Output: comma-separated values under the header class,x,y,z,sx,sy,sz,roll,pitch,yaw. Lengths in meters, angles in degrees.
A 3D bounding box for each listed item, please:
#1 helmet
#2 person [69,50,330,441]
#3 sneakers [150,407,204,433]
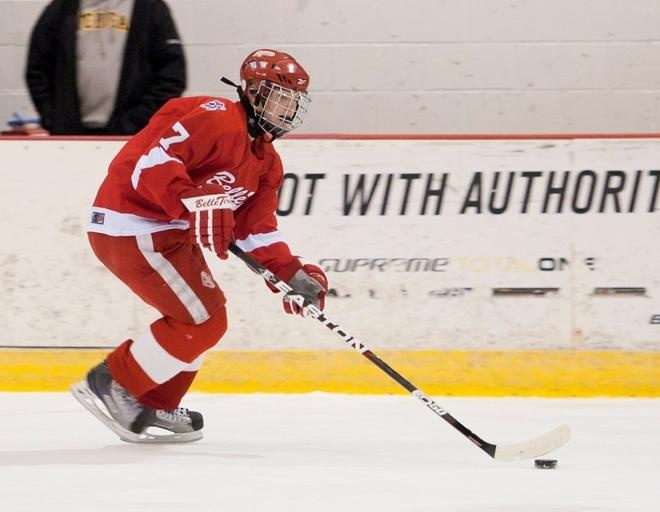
class,x,y,z,sx,sy,sz,roll,pitch,yaw
helmet,-0.223,-0.772,4.546,0.333,0.130,0.192,8,15,5
person,-0.605,-0.021,4.466,0.814,1.729,0.393,9,10,-9
sneakers,-0.664,0.713,4.676,0.286,0.082,0.081,2,29,-28
